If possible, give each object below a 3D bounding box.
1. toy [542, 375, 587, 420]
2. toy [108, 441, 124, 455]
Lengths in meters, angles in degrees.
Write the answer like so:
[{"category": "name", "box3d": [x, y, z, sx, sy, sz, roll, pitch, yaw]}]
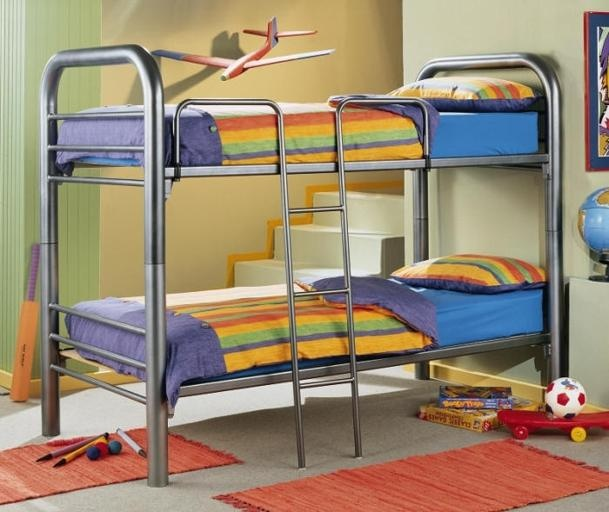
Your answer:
[{"category": "toy", "box3d": [1.339, 0.718, 3.403, 0.226, 0.216, 0.213, 19, -27, -34]}, {"category": "toy", "box3d": [-0.873, 0.881, 3.096, 0.076, 0.059, 0.066, -3, 5, 2]}]
